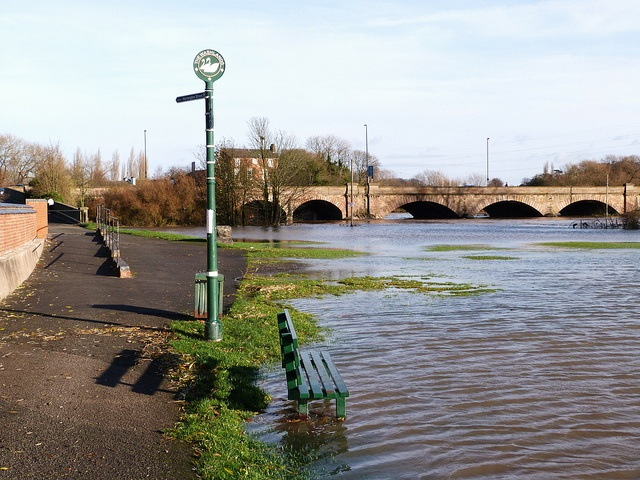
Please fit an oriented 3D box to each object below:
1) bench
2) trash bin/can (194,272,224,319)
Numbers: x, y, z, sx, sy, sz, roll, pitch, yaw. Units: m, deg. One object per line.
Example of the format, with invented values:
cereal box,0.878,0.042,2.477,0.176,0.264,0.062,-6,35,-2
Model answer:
bench,-0.128,1.855,9.482,0.861,0.979,2.201,-2,6,-7
trash bin/can,-2.148,1.064,13.103,0.626,0.656,0.593,-1,-2,-11
